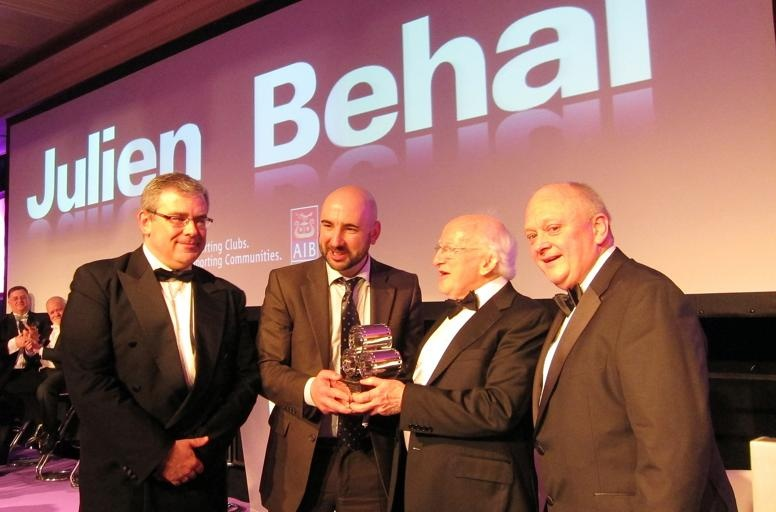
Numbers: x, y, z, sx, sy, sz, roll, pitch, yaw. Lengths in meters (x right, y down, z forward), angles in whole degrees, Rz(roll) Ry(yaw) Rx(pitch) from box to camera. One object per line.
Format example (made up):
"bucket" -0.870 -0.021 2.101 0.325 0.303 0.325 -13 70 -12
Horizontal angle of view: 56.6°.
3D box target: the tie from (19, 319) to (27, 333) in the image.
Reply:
"tie" -4.425 0.855 8.683 0.107 0.147 0.040 -43 -27 23
